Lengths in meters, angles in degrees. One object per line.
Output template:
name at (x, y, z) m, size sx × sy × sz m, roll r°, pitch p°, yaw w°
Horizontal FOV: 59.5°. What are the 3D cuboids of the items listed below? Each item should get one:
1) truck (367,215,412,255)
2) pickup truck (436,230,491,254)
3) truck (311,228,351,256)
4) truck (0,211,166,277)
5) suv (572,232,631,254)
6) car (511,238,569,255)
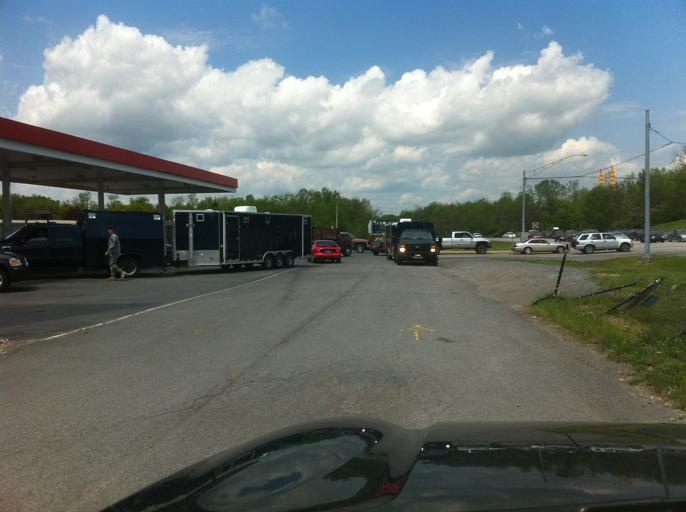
truck at (3.700, -1.621, 50.505) m, size 2.319 × 2.719 × 5.493 m, roll -1°, pitch 1°, yaw -6°
pickup truck at (10.347, -1.036, 51.180) m, size 4.882 × 1.806 × 2.076 m, roll -1°, pitch 5°, yaw 9°
truck at (-0.781, -1.164, 51.670) m, size 3.827 × 2.127 × 1.949 m, roll -2°, pitch 4°, yaw -8°
truck at (-10.130, -0.313, 24.313) m, size 6.484 × 2.583 × 2.623 m, roll 0°, pitch 0°, yaw -25°
suv at (19.289, -1.009, 44.921) m, size 3.609 × 1.464 × 1.769 m, roll -2°, pitch 4°, yaw 1°
car at (14.889, -0.698, 45.570) m, size 2.793 × 0.870 × 1.314 m, roll -2°, pitch 4°, yaw 5°
